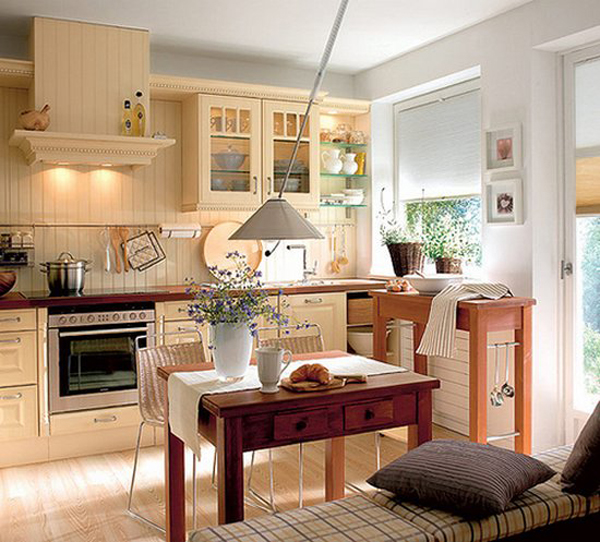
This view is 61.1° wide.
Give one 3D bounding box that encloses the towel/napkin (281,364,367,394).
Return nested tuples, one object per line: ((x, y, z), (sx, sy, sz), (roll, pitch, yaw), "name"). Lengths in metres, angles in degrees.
((0.074, 0.431, 2.031), (0.170, 0.042, 0.159), (0, -1, -39), "towel/napkin")

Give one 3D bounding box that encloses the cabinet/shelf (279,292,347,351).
((0.136, 0.431, 4.509), (0.563, 0.521, 0.321), (-3, 10, 3), "cabinet/shelf")

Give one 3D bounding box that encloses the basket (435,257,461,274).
((1.184, -0.047, 4.026), (0.208, 0.130, 0.147), (-1, 1, 4), "basket")

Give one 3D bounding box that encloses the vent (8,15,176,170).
((-1.591, -1.340, 3.755), (1.250, 1.082, 0.595), (-3, 11, -12), "vent")

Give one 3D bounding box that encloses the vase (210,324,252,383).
((-0.287, 0.334, 2.162), (0.222, 0.251, 0.224), (0, 2, -8), "vase")

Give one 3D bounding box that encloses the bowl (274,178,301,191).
((-0.091, -0.760, 4.403), (0.228, 0.108, 0.224), (0, -1, 0), "bowl")

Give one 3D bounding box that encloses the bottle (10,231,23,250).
((-2.105, -0.233, 3.786), (0.069, 0.126, 0.082), (-1, 1, -28), "bottle")

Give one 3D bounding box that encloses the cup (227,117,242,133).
((-0.548, -1.233, 4.252), (0.140, 0.096, 0.089), (2, -3, -34), "cup")

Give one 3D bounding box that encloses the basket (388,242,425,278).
((0.906, -0.104, 4.434), (0.301, 0.274, 0.296), (-1, 1, -44), "basket")

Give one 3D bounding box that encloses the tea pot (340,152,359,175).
((0.463, -1.018, 4.845), (0.194, 0.232, 0.189), (-2, 3, 0), "tea pot")

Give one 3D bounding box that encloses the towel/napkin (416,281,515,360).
((1.020, 0.239, 3.234), (0.524, 0.330, 0.510), (-18, 8, -32), "towel/napkin")

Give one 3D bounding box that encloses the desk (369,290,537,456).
((1.000, 0.663, 3.566), (0.494, 1.023, 1.119), (-2, 3, -26), "desk")

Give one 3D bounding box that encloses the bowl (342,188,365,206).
((0.524, -0.720, 4.905), (0.171, 0.115, 0.174), (-1, 0, 0), "bowl")

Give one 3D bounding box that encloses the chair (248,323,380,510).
((-0.029, 0.775, 2.907), (0.474, 0.879, 0.573), (-1, 7, -13), "chair")

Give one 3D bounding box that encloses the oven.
((-1.514, 0.631, 3.784), (0.785, 0.713, 0.532), (0, 3, -39), "oven")

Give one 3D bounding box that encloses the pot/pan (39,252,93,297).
((-1.725, 0.008, 3.748), (0.387, 0.271, 0.241), (0, 4, -24), "pot/pan")

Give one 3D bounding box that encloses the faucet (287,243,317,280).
((0.008, -0.098, 4.907), (0.350, 0.326, 0.088), (8, -9, -25), "faucet")

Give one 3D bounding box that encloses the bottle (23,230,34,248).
((-2.064, -0.244, 3.870), (0.076, 0.130, 0.141), (-1, 1, -28), "bottle")

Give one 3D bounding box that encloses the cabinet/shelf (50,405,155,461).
((-1.527, 1.112, 3.836), (0.781, 0.346, 0.507), (3, 9, -35), "cabinet/shelf")

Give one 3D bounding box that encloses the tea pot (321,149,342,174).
((0.298, -1.035, 4.790), (0.237, 0.263, 0.203), (-2, 7, -15), "tea pot")

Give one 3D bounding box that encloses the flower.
((-0.266, 0.127, 2.519), (0.638, 0.539, 0.894), (0, 5, -6), "flower")

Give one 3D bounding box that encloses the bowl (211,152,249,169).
((-0.589, -0.929, 4.234), (0.222, 0.099, 0.151), (-4, 10, -20), "bowl")

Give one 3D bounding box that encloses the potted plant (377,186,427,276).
((0.879, -0.233, 4.495), (0.334, 0.532, 0.282), (5, -15, -42), "potted plant")

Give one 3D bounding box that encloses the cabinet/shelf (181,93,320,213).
((-0.420, -1.010, 4.521), (1.166, 0.941, 0.403), (-5, 10, -31), "cabinet/shelf")

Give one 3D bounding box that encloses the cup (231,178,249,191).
((-0.504, -0.733, 4.276), (0.136, 0.086, 0.081), (1, -2, -36), "cup")

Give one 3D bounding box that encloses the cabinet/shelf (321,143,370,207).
((0.434, -0.946, 4.909), (0.657, 0.595, 0.210), (-1, 3, -24), "cabinet/shelf")

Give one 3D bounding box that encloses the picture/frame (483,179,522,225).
((1.415, -0.478, 3.552), (0.085, 0.305, 0.312), (-1, 4, -19), "picture/frame")

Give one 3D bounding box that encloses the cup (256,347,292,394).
((-0.098, 0.382, 1.977), (0.163, 0.156, 0.109), (1, -5, -28), "cup")

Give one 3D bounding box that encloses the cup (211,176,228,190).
((-0.662, -0.733, 4.205), (0.112, 0.077, 0.113), (3, 7, 0), "cup")
